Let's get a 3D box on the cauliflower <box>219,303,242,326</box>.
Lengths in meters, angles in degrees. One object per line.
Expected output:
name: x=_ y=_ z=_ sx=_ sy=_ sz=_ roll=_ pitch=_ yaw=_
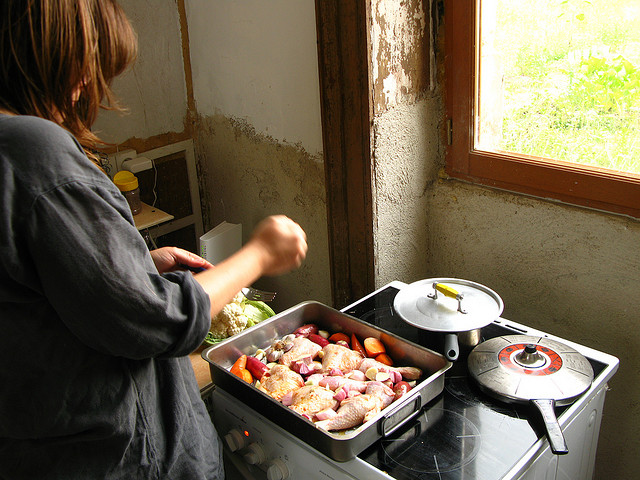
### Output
cauliflower: x=-0.293 y=0.242 z=1.693 sx=0.088 sy=0.073 sz=0.040 roll=-21 pitch=33 yaw=-33

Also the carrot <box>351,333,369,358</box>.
carrot: x=0.107 y=0.288 z=1.372 sx=0.019 sy=0.023 sz=0.071 roll=-12 pitch=51 yaw=-13

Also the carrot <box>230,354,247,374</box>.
carrot: x=-0.215 y=0.328 z=1.331 sx=0.018 sy=0.013 sz=0.040 roll=6 pitch=44 yaw=10

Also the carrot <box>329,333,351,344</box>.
carrot: x=0.054 y=0.274 z=1.419 sx=0.027 sy=0.020 sz=0.030 roll=7 pitch=12 yaw=15

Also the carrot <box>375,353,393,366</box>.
carrot: x=0.167 y=0.310 z=1.315 sx=0.028 sy=0.020 sz=0.029 roll=31 pitch=4 yaw=-34

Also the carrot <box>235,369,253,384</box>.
carrot: x=-0.199 y=0.349 z=1.307 sx=0.032 sy=0.019 sz=0.033 roll=37 pitch=2 yaw=37
